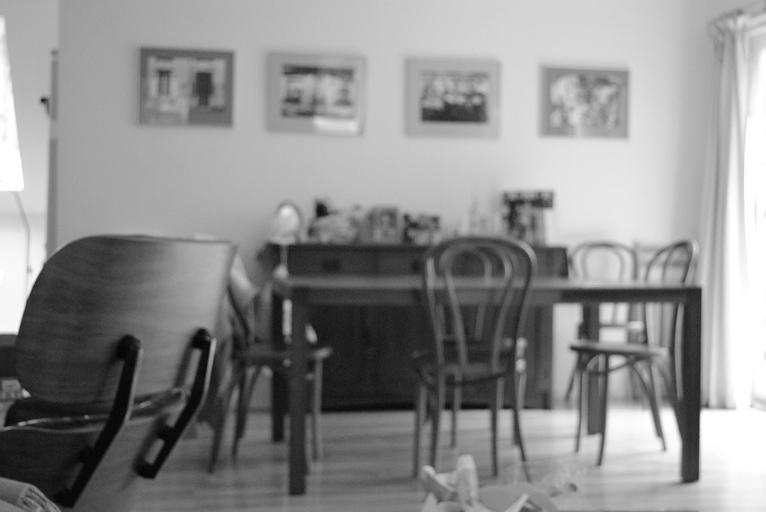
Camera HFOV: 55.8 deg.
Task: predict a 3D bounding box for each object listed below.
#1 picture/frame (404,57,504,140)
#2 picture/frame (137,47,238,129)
[{"bbox_3d":[0.221,-0.530,2.392,0.275,0.218,0.022,1,2,-7],"label":"picture/frame"},{"bbox_3d":[-0.629,-0.550,2.344,0.260,0.220,0.019,0,0,-4],"label":"picture/frame"}]
